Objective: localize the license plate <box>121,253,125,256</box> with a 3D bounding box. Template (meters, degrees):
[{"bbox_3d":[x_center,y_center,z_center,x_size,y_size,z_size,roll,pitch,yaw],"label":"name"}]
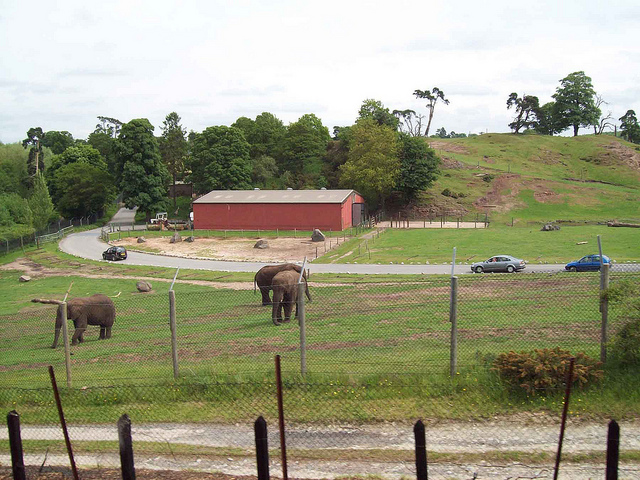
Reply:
[{"bbox_3d":[-16.313,1.207,73.851,0.387,0.179,0.242,2,-4,5],"label":"license plate"}]

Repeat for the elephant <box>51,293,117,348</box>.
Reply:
[{"bbox_3d":[-10.838,3.639,40.852,3.141,2.060,1.453,-4,4,-45],"label":"elephant"}]
